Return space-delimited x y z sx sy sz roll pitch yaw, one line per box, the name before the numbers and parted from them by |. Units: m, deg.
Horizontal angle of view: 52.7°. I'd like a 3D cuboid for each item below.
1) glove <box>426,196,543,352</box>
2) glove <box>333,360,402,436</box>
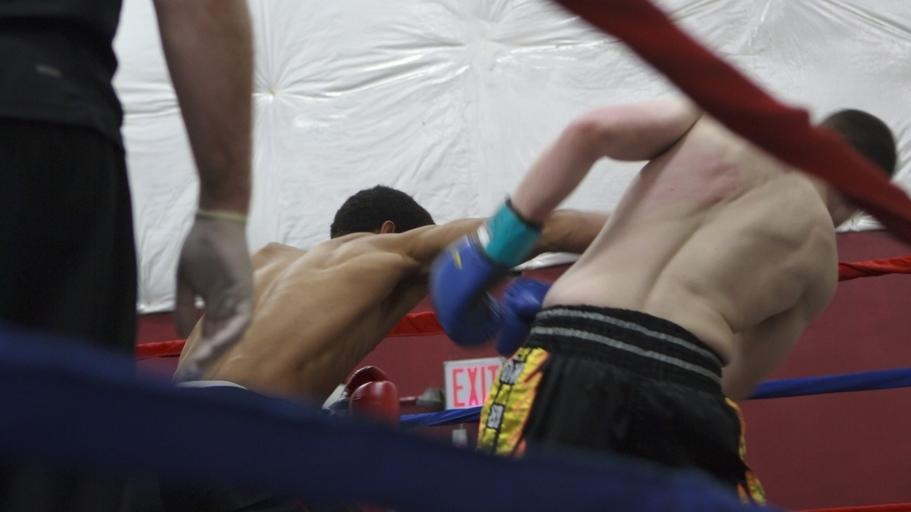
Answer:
glove | 0.093 0.011 3.383 0.466 0.464 0.210 33 13 -42
glove | -0.335 0.536 3.587 0.188 0.176 0.366 3 -12 1
